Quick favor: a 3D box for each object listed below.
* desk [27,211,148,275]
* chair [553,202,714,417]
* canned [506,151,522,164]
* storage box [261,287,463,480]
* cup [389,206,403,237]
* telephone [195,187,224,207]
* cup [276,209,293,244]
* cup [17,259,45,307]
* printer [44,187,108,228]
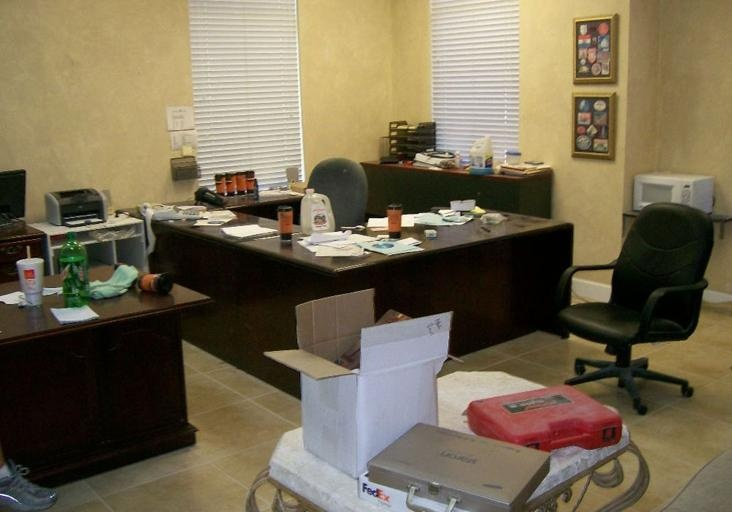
[{"bbox_3d":[-2.091,-0.104,4.259,0.487,0.331,0.272,-12,19,-42],"label":"desk"},{"bbox_3d":[1.663,0.303,3.623,0.815,1.236,0.693,-8,17,-22],"label":"chair"},{"bbox_3d":[1.457,-0.981,5.595,0.130,0.135,0.245,4,16,20],"label":"canned"},{"bbox_3d":[-0.028,0.392,1.730,0.422,0.473,0.367,-15,21,-41],"label":"storage box"},{"bbox_3d":[0.173,-0.238,3.841,0.123,0.222,0.075,10,20,35],"label":"cup"},{"bbox_3d":[-1.384,-0.509,5.042,0.271,0.111,0.151,18,25,22],"label":"telephone"},{"bbox_3d":[-0.548,-0.217,3.812,0.092,0.227,0.162,-5,16,-12],"label":"cup"},{"bbox_3d":[-1.744,0.126,2.948,0.114,0.247,0.173,-11,18,-30],"label":"cup"},{"bbox_3d":[-2.413,-0.444,4.707,0.374,0.262,0.388,14,19,43],"label":"printer"}]
